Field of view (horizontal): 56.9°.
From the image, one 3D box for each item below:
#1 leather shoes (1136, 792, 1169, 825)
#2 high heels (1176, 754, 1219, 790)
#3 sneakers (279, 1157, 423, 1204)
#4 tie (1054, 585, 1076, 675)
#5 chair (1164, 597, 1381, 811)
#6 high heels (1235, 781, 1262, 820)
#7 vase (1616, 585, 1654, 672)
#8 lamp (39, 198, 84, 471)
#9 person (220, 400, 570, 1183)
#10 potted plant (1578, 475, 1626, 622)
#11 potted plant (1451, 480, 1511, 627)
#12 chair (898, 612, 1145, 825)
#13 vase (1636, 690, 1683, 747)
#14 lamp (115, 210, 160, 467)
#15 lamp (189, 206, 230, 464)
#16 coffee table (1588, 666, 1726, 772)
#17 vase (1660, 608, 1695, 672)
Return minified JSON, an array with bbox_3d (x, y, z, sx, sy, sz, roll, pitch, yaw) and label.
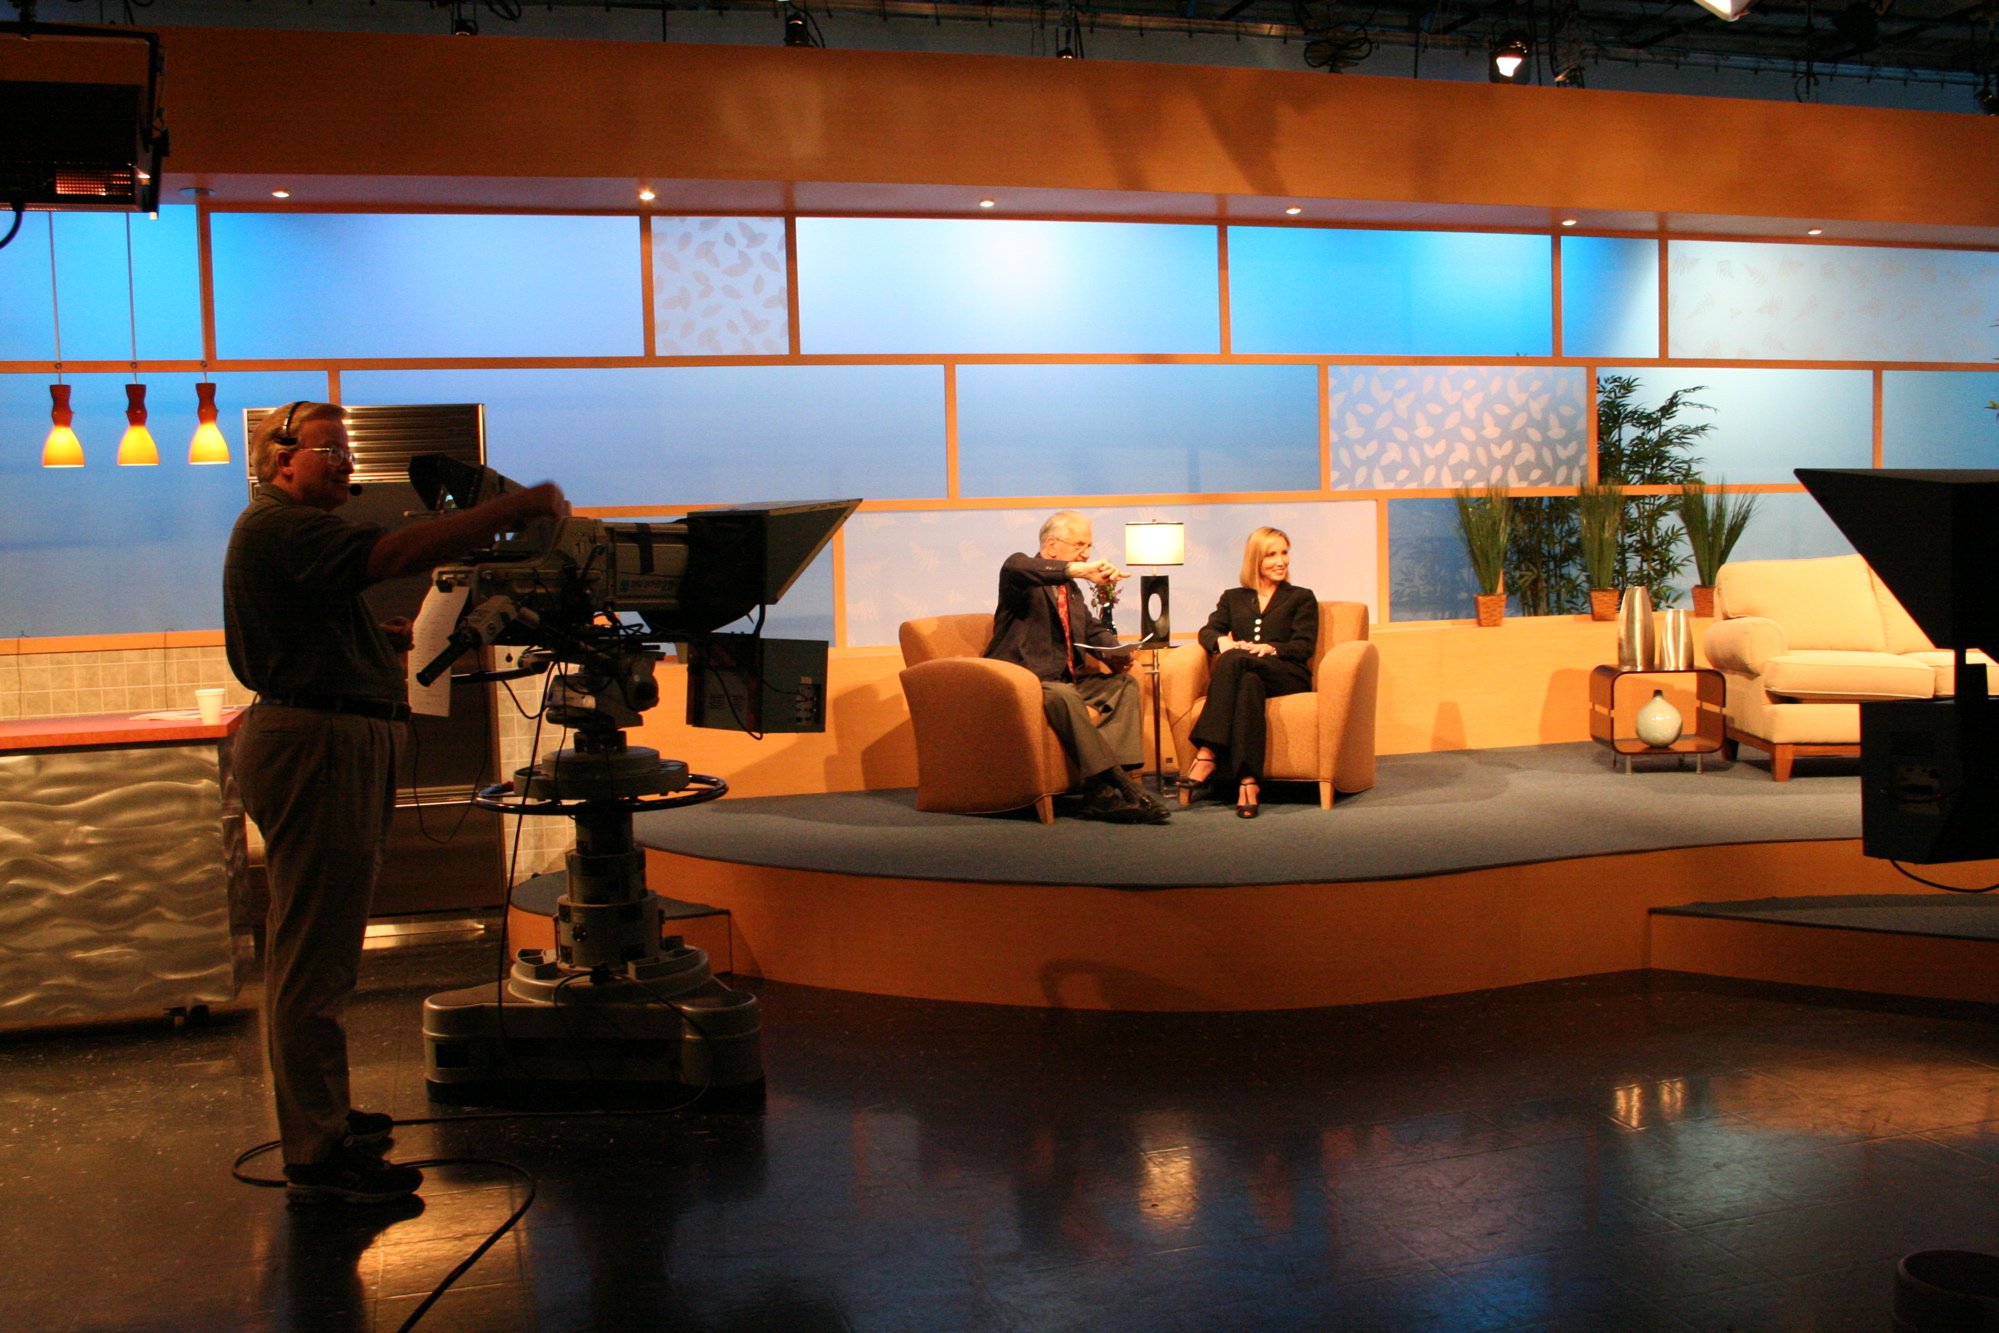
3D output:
[{"bbox_3d":[0.611,0.560,7.387,0.129,0.057,0.113,23,20,30],"label":"leather shoes"},{"bbox_3d":[0.842,0.442,7.780,0.150,0.100,0.391,-1,-4,8],"label":"high heels"},{"bbox_3d":[-1.887,1.492,5.454,0.420,0.176,0.142,1,-2,-8],"label":"sneakers"},{"bbox_3d":[0.285,-0.168,7.992,0.118,0.293,0.232,3,8,7],"label":"tie"},{"bbox_3d":[1.220,0.127,8.080,0.901,0.900,0.825,0,-2,20],"label":"chair"},{"bbox_3d":[1.014,0.541,7.535,0.117,0.139,0.365,-1,-6,9],"label":"high heels"},{"bbox_3d":[3.039,-0.187,8.785,0.154,0.378,0.282,1,8,19],"label":"vase"},{"bbox_3d":[-4.103,-1.423,7.986,0.142,1.123,0.590,-5,8,-26],"label":"lamp"},{"bbox_3d":[-1.892,0.519,5.531,0.683,2.031,0.515,-5,8,-22],"label":"person"},{"bbox_3d":[3.069,-0.578,9.397,0.197,0.668,0.267,0,8,16],"label":"potted plant"},{"bbox_3d":[2.479,-0.560,9.446,0.216,0.671,0.459,-1,7,2],"label":"potted plant"},{"bbox_3d":[0.142,0.170,7.922,0.834,0.818,1.047,-3,3,40],"label":"chair"},{"bbox_3d":[2.965,0.231,8.360,0.257,0.268,0.241,-2,2,0],"label":"vase"},{"bbox_3d":[-3.800,-1.434,8.044,0.174,1.131,0.632,-5,8,-24],"label":"lamp"},{"bbox_3d":[-3.509,-1.481,8.101,0.173,1.194,0.621,-5,8,-23],"label":"lamp"},{"bbox_3d":[3.111,0.219,8.698,0.569,0.416,0.514,0,3,7],"label":"coffee table"},{"bbox_3d":[3.273,-0.148,8.864,0.243,0.278,0.119,-6,9,-32],"label":"vase"}]
